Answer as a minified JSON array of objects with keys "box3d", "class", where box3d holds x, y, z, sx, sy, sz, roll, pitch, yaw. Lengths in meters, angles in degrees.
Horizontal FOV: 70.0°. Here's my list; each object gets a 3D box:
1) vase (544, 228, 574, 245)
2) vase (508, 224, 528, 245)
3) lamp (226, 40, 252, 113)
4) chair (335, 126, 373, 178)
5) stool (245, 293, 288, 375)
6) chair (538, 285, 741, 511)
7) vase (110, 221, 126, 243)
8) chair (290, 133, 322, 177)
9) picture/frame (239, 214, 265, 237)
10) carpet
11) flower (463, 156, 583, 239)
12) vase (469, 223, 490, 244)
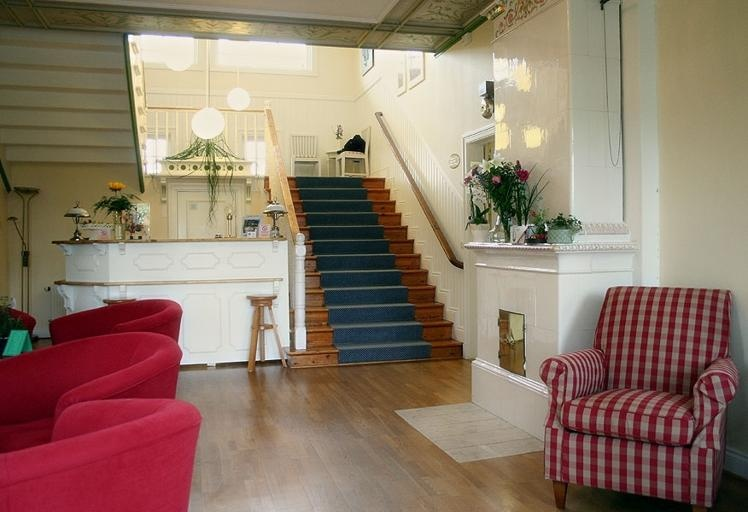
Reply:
[{"box3d":[1.498,-0.158,4.273,0.149,0.095,0.153,0,1,6],"class":"vase"},{"box3d":[1.261,-0.190,4.662,0.180,0.197,0.112,0,4,-10],"class":"vase"},{"box3d":[-2.619,-3.420,10.385,0.377,1.373,1.828,-2,6,-12],"class":"lamp"},{"box3d":[-0.412,-2.114,10.764,0.676,0.989,0.567,-1,6,-6],"class":"chair"},{"box3d":[-1.314,0.902,6.517,0.468,0.881,0.486,-2,6,-12],"class":"stool"},{"box3d":[1.796,0.945,3.705,1.135,1.375,1.103,3,7,26],"class":"chair"},{"box3d":[-3.163,-0.318,6.605,0.132,0.189,0.278,-3,7,-25],"class":"vase"},{"box3d":[-1.448,-2.146,11.283,0.652,0.883,0.661,-1,6,-8],"class":"chair"},{"box3d":[-1.551,-0.381,6.797,0.246,0.246,0.245,-2,6,-15],"class":"picture/frame"},{"box3d":[0.800,1.494,4.603,0.831,0.017,1.194,-3,6,-26],"class":"carpet"},{"box3d":[1.301,-0.502,4.751,0.440,0.745,1.165,-4,7,-28],"class":"flower"},{"box3d":[1.078,-0.219,5.311,0.255,0.209,0.244,1,-3,-10],"class":"vase"}]
